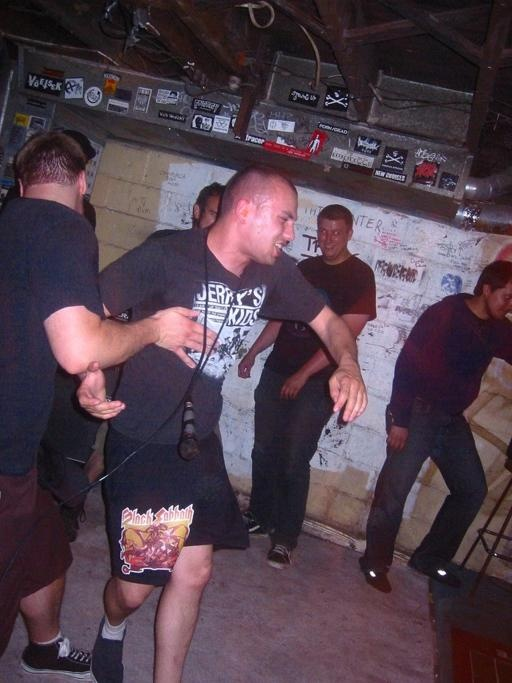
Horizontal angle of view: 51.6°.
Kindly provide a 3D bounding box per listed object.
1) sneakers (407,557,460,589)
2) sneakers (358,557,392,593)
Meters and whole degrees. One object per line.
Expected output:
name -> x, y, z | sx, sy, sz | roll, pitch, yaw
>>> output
sneakers -> 1.259, 1.632, 3.751 | 0.123, 0.148, 0.360 | 16, -4, -11
sneakers -> 0.806, 1.568, 3.542 | 0.088, 0.092, 0.237 | 0, 4, -11
